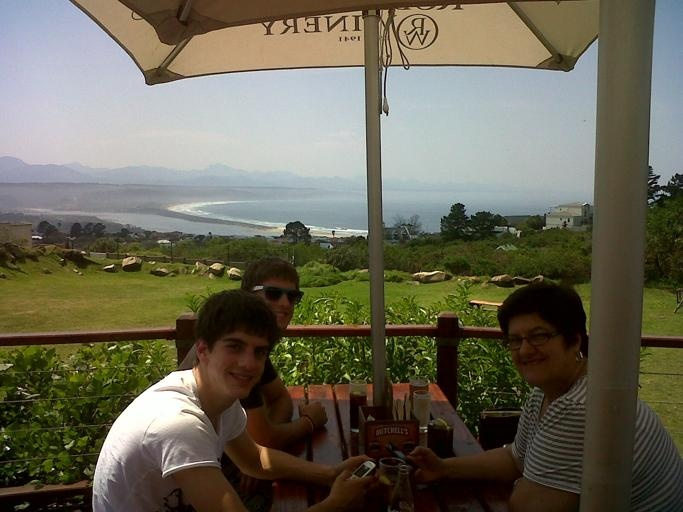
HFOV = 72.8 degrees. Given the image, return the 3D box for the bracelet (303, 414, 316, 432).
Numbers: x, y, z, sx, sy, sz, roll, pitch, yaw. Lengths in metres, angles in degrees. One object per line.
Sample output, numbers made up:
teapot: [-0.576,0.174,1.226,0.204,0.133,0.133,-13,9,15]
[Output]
bracelet: [-0.124,0.666,1.851,0.021,0.062,0.047,-4,-18,-28]

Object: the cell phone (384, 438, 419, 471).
cell phone: [0.184,0.631,1.478,0.171,0.042,0.047,31,-40,-10]

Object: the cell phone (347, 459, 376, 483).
cell phone: [0.067,0.653,1.415,0.032,0.014,0.068,27,55,39]
